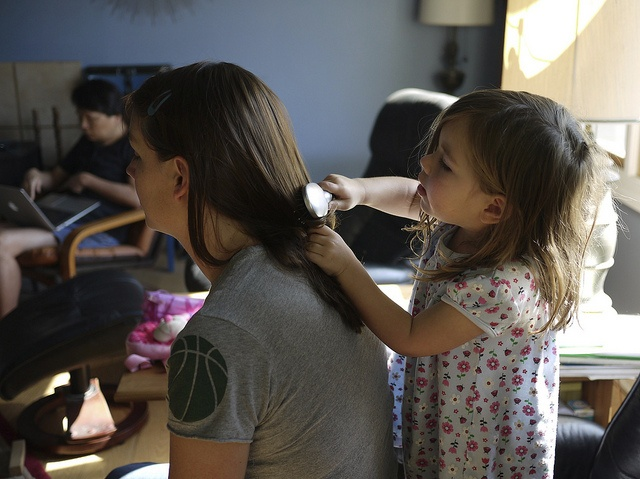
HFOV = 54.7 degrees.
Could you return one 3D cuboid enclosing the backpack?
[{"bbox_3d":[-0.500,0.282,1.982,0.263,0.118,0.338,5,22,2],"label":"backpack"}]
